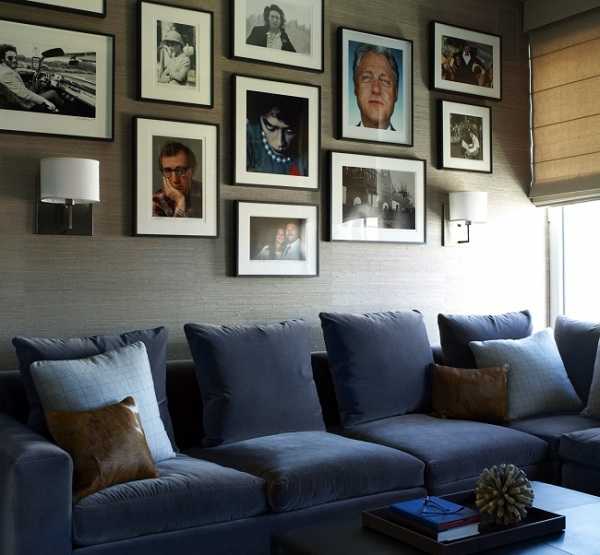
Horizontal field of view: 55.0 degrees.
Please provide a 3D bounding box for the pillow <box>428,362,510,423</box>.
[{"bbox_3d":[0.976,0.668,3.307,0.283,0.222,0.104,3,-27,13],"label":"pillow"}]

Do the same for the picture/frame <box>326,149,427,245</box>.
[{"bbox_3d":[0.486,-0.542,3.890,0.653,0.499,0.013,2,-5,-33],"label":"picture/frame"}]

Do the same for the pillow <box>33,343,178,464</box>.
[{"bbox_3d":[-0.822,0.513,2.359,0.233,0.433,0.460,-19,-9,37],"label":"pillow"}]

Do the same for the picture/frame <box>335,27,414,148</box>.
[{"bbox_3d":[0.480,-1.272,3.893,0.821,1.033,0.039,3,-6,-30],"label":"picture/frame"}]

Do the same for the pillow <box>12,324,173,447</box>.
[{"bbox_3d":[-0.892,0.467,2.457,0.502,0.477,0.174,-3,-16,-44],"label":"pillow"}]

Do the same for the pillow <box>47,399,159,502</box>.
[{"bbox_3d":[-0.753,0.635,2.207,0.337,0.269,0.286,-3,4,-43],"label":"pillow"}]

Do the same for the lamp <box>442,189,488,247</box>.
[{"bbox_3d":[1.212,-0.432,4.159,0.303,0.401,0.251,-2,3,-32],"label":"lamp"}]

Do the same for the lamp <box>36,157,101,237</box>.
[{"bbox_3d":[-1.151,-0.401,2.886,0.322,0.375,0.264,-2,3,-26],"label":"lamp"}]

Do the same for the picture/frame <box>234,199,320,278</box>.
[{"bbox_3d":[-0.166,-0.239,3.537,0.475,0.398,0.023,2,-5,-30],"label":"picture/frame"}]
